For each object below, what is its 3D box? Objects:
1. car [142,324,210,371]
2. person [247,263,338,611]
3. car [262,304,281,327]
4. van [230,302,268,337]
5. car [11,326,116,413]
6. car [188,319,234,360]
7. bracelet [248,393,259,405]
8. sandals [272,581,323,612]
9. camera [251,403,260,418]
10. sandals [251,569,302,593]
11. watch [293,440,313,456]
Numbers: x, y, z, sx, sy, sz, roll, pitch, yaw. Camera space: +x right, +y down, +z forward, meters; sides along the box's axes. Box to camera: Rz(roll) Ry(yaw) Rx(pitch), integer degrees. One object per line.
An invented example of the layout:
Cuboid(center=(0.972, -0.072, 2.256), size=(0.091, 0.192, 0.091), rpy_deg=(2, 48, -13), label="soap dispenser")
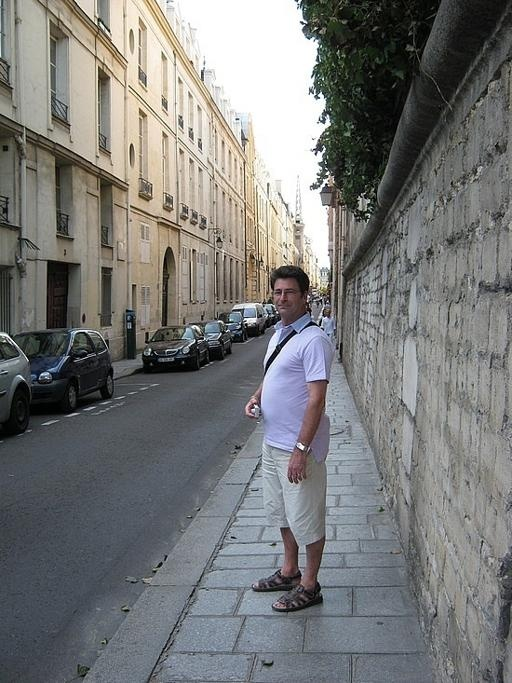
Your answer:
Cuboid(center=(-3.136, 0.318, 21.092), size=(1.959, 1.681, 2.854), rpy_deg=(-1, 2, 6), label="car")
Cuboid(center=(0.208, 0.516, 2.987), size=(0.361, 1.841, 0.565), rpy_deg=(-1, 1, -32), label="person")
Cuboid(center=(1.414, -2.410, 53.033), size=(1.329, 1.996, 2.849), rpy_deg=(-1, -5, 3), label="car")
Cuboid(center=(-0.384, -1.595, 42.046), size=(1.367, 2.031, 3.067), rpy_deg=(-1, -2, 6), label="van")
Cuboid(center=(-4.286, 0.656, 12.272), size=(1.047, 1.387, 2.184), rpy_deg=(-3, -5, 10), label="car")
Cuboid(center=(-2.015, 0.052, 24.385), size=(1.218, 1.791, 3.611), rpy_deg=(-1, -1, 5), label="car")
Cuboid(center=(-0.017, 0.351, 3.288), size=(0.044, 0.100, 0.077), rpy_deg=(1, 0, 4), label="bracelet")
Cuboid(center=(0.226, 1.354, 2.946), size=(0.247, 0.155, 0.119), rpy_deg=(-5, -5, -20), label="sandals")
Cuboid(center=(-0.002, 0.394, 3.074), size=(0.020, 0.066, 0.044), rpy_deg=(-2, -37, -7), label="camera")
Cuboid(center=(0.121, 1.393, 3.156), size=(0.248, 0.172, 0.124), rpy_deg=(4, -4, -5), label="sandals")
Cuboid(center=(0.248, 0.527, 2.793), size=(0.081, 0.061, 0.082), rpy_deg=(38, -1, -3), label="watch")
